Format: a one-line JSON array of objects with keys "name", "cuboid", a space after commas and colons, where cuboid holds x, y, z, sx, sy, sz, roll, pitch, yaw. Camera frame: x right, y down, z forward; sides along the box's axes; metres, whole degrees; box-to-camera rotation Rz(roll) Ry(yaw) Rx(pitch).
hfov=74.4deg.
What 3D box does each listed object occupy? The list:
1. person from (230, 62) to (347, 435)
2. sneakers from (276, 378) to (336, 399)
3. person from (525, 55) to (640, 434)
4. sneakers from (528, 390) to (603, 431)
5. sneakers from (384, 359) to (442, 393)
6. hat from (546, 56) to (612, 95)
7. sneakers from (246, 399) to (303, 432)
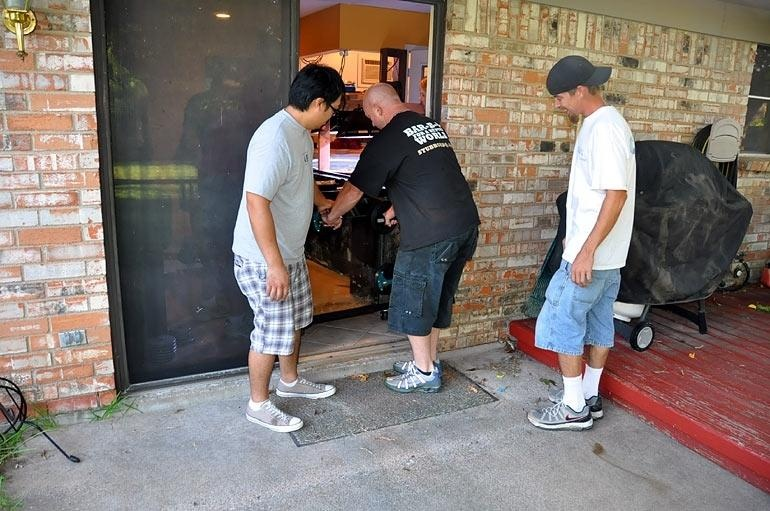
[{"name": "person", "cuboid": [-0.718, -0.029, 3.551, 0.547, 2.471, 0.794, 9, 21, 24]}, {"name": "sneakers", "cuboid": [-0.625, 1.051, 4.008, 0.478, 0.158, 0.167, 0, 6, -10]}, {"name": "person", "cuboid": [1.391, 0.143, 3.543, 0.520, 2.260, 0.631, 9, 21, 25]}, {"name": "sneakers", "cuboid": [1.281, 1.147, 3.796, 0.612, 0.272, 0.213, 2, 8, 3]}, {"name": "sneakers", "cuboid": [0.249, 1.016, 4.110, 0.297, 0.108, 0.313, 3, 6, 5]}, {"name": "hat", "cuboid": [1.314, -1.194, 3.452, 0.391, 0.154, 0.233, -3, 58, 25]}, {"name": "sneakers", "cuboid": [-0.801, 1.144, 3.677, 0.472, 0.173, 0.168, 11, 12, 6]}]
